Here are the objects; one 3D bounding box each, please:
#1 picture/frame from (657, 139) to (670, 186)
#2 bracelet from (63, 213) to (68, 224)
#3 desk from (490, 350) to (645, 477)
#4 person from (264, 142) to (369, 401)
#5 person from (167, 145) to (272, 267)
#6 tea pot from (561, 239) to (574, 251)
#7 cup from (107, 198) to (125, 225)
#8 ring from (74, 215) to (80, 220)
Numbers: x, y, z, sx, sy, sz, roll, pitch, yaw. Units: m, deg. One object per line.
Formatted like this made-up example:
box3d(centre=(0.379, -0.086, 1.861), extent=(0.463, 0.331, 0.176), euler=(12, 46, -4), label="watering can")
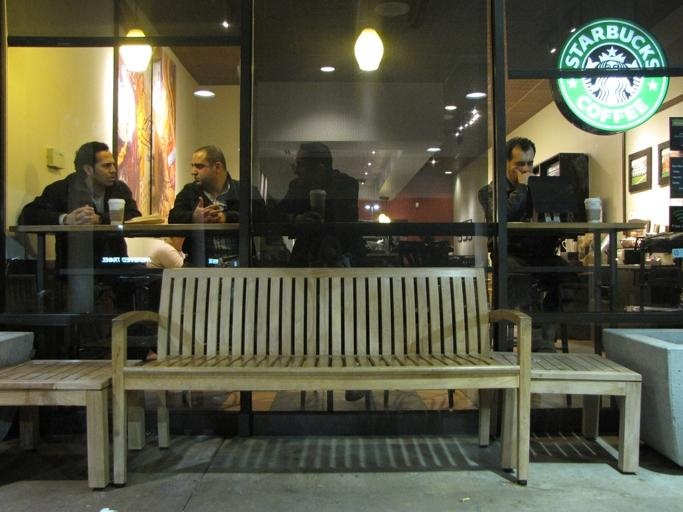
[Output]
box3d(centre=(2.313, -0.658, 4.507), extent=(0.099, 0.236, 0.023), euler=(-1, -1, -14), label="picture/frame")
box3d(centre=(-1.966, -0.270, 4.495), extent=(0.042, 0.056, 0.049), euler=(2, -9, -11), label="bracelet")
box3d(centre=(1.522, 0.987, 4.001), extent=(0.876, 0.484, 0.610), euler=(-1, -1, -21), label="desk")
box3d(centre=(-0.193, -0.049, 4.719), extent=(0.595, 1.542, 0.455), euler=(-4, 26, 0), label="person")
box3d(centre=(-0.904, -0.312, 4.549), extent=(0.593, 0.884, 0.515), euler=(0, 3, -18), label="person")
box3d(centre=(1.629, -0.075, 4.541), extent=(0.091, 0.090, 0.058), euler=(-1, -5, 13), label="tea pot")
box3d(centre=(-1.603, -0.314, 4.489), extent=(0.153, 0.212, 0.152), euler=(0, 1, 0), label="cup")
box3d(centre=(-1.891, -0.275, 4.497), extent=(0.032, 0.030, 0.008), euler=(4, -7, -9), label="ring")
